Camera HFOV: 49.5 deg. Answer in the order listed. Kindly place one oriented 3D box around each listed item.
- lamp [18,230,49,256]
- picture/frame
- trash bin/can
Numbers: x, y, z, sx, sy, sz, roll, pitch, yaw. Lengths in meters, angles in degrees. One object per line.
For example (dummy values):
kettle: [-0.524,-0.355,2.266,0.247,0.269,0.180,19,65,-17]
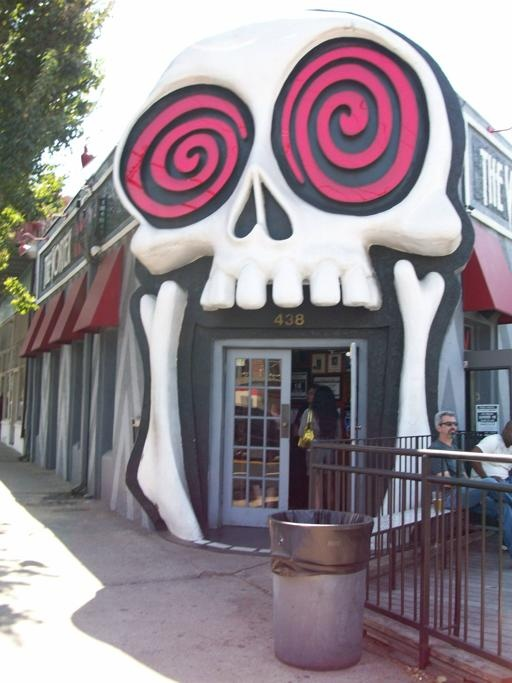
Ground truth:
lamp: [-6.827,-2.998,17.049,0.665,1.031,1.182,11,2,-41]
picture/frame: [1.039,0.826,8.602,0.820,2.143,0.998,-2,-10,21]
trash bin/can: [0.354,1.291,2.953,0.540,0.741,0.565,-2,-5,-6]
